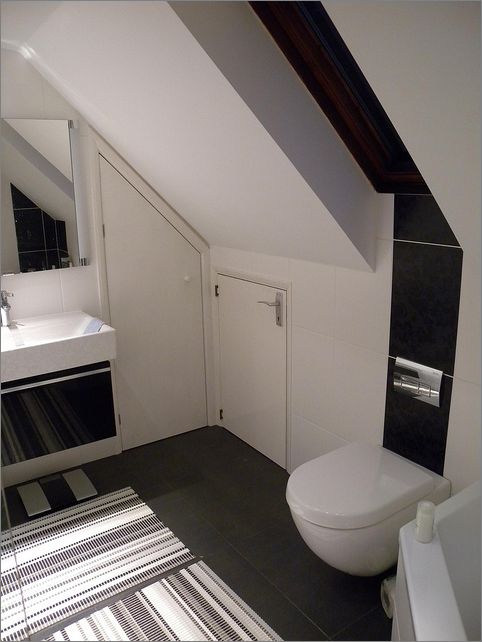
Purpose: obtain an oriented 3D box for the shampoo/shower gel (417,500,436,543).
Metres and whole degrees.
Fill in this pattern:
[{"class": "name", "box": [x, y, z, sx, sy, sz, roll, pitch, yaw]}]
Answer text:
[{"class": "shampoo/shower gel", "box": [0.450, 0.496, 1.088, 0.043, 0.082, 0.080, 4, 9, 26]}]
